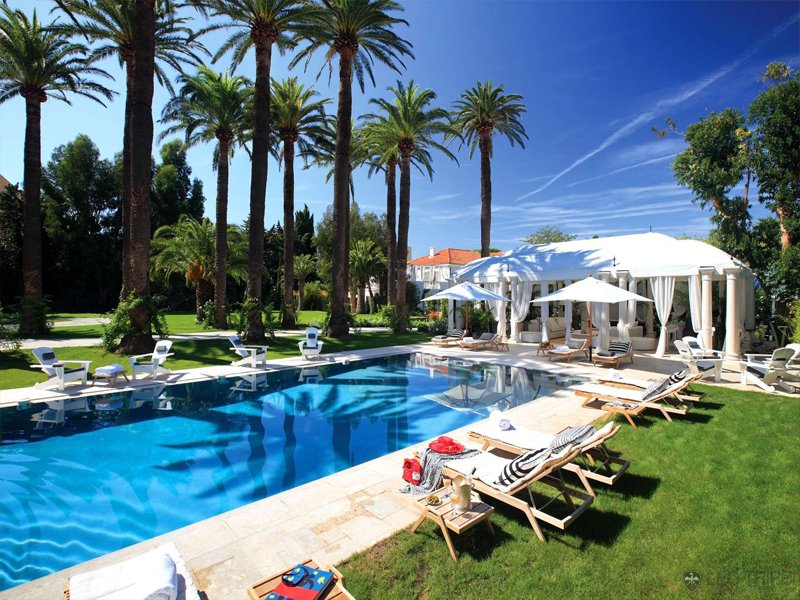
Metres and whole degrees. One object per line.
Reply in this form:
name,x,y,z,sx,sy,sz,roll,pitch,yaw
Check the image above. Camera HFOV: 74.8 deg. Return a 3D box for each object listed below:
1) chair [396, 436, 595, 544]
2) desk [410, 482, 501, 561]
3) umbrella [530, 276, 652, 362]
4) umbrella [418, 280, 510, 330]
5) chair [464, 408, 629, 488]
chair,2.559,4.112,11.673,3.381,1.498,1.814,11,16,42
desk,1.149,4.735,11.395,1.421,0.865,1.661,17,9,41
umbrella,8.449,1.127,21.963,3.524,2.785,3.817,-3,3,-7
umbrella,3.595,0.510,27.246,3.087,3.153,4.844,2,11,12
chair,3.216,3.820,12.872,1.644,1.452,3.123,-10,10,-28
